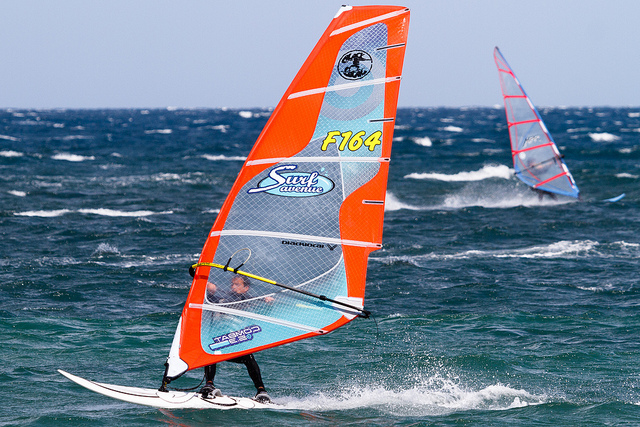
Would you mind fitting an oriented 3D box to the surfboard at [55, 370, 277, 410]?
[{"bbox_3d":[-5.150,6.153,43.551,6.470,1.710,0.666,-2,17,-8],"label":"surfboard"}]

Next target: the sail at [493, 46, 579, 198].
[{"bbox_3d":[10.999,-4.663,66.090,0.935,7.359,4.371,-17,23,-41],"label":"sail"}]

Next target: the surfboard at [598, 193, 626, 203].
[{"bbox_3d":[15.511,-0.791,67.290,0.548,0.378,3.173,0,6,20],"label":"surfboard"}]

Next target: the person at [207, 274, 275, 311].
[{"bbox_3d":[-2.814,2.658,43.350,1.954,1.194,0.375,-1,18,-4],"label":"person"}]
